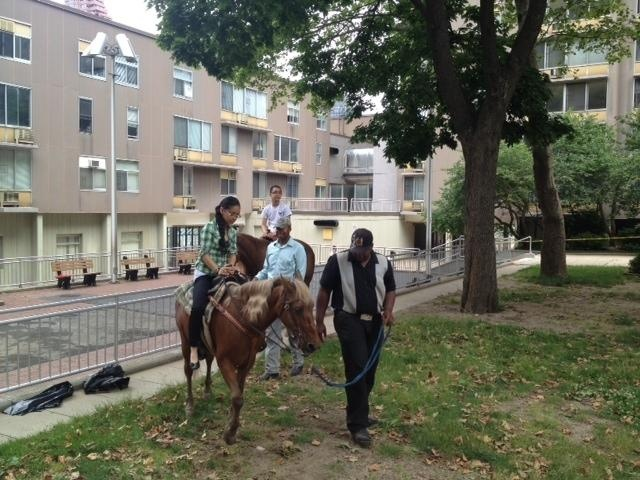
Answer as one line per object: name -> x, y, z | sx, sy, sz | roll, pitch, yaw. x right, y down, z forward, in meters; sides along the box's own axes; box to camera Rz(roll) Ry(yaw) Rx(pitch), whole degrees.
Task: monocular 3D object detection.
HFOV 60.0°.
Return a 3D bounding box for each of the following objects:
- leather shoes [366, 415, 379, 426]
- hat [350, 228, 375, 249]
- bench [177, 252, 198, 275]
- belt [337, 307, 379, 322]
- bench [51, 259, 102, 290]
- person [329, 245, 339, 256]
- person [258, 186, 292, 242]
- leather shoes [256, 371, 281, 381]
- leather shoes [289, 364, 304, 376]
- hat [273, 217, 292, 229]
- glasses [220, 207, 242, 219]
leather shoes -> 0.851, 2.957, 9.088 | 0.255, 0.144, 0.397 | -1, -3, 1
hat -> 0.662, -0.019, 8.818 | 0.332, 0.321, 0.337 | 1, 11, 3
bench -> -7.619, 1.316, 31.354 | 0.459, 0.870, 1.173 | 8, 3, 21
belt -> 0.611, 1.190, 8.846 | 0.724, 0.208, 0.155 | -1, 11, -8
bench -> -12.109, 1.652, 27.419 | 1.022, 1.519, 2.163 | -2, 2, 35
person -> 0.631, 0.614, 31.139 | 0.414, 0.507, 0.840 | 0, -7, -3
person -> -1.037, -0.598, 12.466 | 0.695, 1.328, 0.907 | 1, 12, 4
leather shoes -> -1.017, 2.701, 11.039 | 0.400, 0.214, 0.156 | 8, -10, -15
leather shoes -> -0.492, 2.631, 11.257 | 0.143, 0.178, 0.254 | 12, 17, 39
hat -> -0.700, -0.370, 10.447 | 0.267, 0.220, 0.865 | 0, 12, -2
glasses -> -1.496, -0.439, 9.349 | 0.240, 0.190, 0.202 | 22, 8, 41
